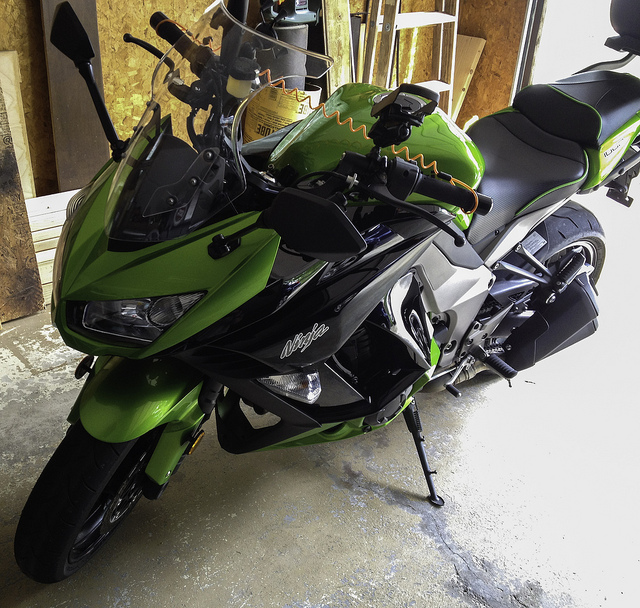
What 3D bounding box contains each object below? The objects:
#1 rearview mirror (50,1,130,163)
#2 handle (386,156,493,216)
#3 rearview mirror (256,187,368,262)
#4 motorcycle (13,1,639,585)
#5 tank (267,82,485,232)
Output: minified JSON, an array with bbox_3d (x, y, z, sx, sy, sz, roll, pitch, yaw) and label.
[{"bbox_3d":[-0.490,-0.458,1.094,0.136,0.298,0.296,-13,37,-41],"label":"rearview mirror"},{"bbox_3d":[0.220,-0.205,0.956,0.211,0.071,0.062,14,7,-9],"label":"handle"},{"bbox_3d":[-0.006,-0.119,0.817,0.156,0.099,0.035,30,38,0],"label":"rearview mirror"},{"bbox_3d":[0.104,0.029,1.423,1.703,1.332,0.661,-9,35,-36],"label":"motorcycle"},{"bbox_3d":[0.124,-0.310,1.234,0.459,0.219,0.315,3,66,-16],"label":"tank"}]
